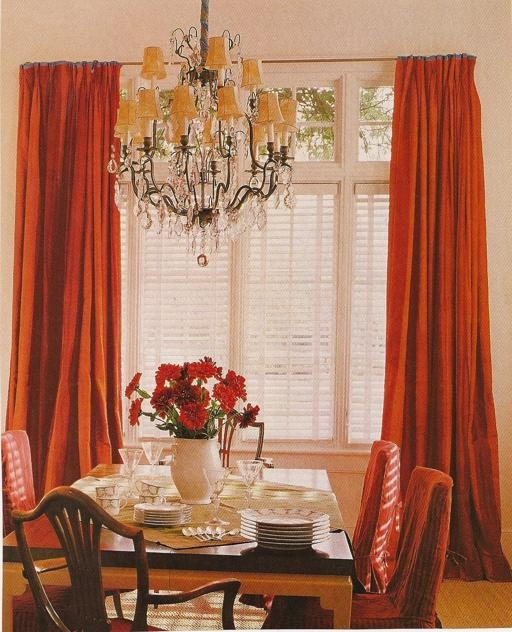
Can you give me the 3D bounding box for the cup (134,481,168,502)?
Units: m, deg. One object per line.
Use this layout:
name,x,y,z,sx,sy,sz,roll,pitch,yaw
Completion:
cup,-0.388,0.645,2.763,0.100,0.089,0.088,-1,-5,29

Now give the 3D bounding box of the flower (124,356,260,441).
flower,-0.248,0.306,2.859,0.438,0.385,0.438,1,2,1

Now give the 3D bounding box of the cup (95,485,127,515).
cup,-0.529,0.666,2.698,0.071,0.131,0.121,-8,-16,22
